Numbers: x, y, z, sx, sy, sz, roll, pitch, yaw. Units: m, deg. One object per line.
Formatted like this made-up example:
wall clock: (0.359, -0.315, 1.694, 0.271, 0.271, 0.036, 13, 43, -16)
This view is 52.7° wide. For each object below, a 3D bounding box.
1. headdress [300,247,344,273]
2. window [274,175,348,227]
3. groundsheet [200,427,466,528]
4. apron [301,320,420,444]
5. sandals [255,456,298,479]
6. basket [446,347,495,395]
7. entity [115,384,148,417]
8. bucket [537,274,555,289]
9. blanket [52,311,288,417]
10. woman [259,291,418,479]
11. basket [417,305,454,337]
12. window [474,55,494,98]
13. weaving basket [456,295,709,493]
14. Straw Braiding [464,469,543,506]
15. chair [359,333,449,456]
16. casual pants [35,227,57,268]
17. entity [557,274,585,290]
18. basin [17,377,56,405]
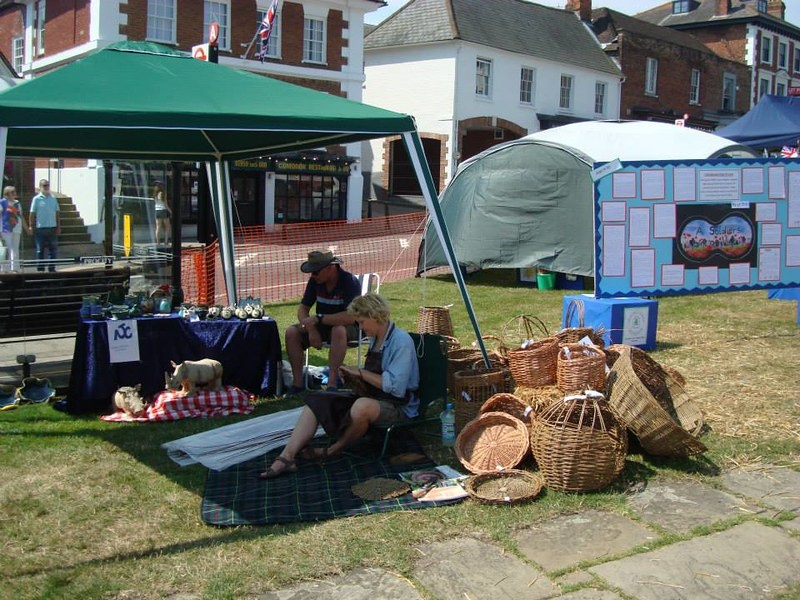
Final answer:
headdress: (-0.831, -0.407, 8.724, 0.353, 0.122, 0.279, -18, 26, -18)
window: (-2.937, -3.583, 28.629, 2.027, 1.981, 3.599, 5, 2, -29)
groundsheet: (-0.968, 1.529, 6.901, 1.389, 0.014, 1.382, -10, 12, -9)
apron: (-0.209, 0.730, 7.561, 1.336, 1.116, 0.883, 1, 3, -24)
sandals: (-1.037, 1.444, 6.903, 0.345, 0.126, 0.132, -2, -7, -32)
basket: (0.648, 0.700, 8.072, 0.465, 0.292, 0.448, -5, -1, -2)
entity: (-2.690, 1.030, 8.146, 0.178, 0.249, 0.457, -15, 17, -41)
bucket: (2.631, -0.327, 14.838, 0.321, 0.195, 0.296, -1, -1, 0)
blanket: (-2.345, 0.666, 8.527, 1.959, 0.695, 1.056, 0, -1, -19)
woman: (-0.543, 0.731, 7.237, 1.630, 1.341, 0.773, -10, 13, -44)
basket: (0.473, 0.282, 10.526, 0.456, 0.302, 0.404, -1, 2, -9)
window: (2.893, -8.016, 29.092, 0.148, 1.249, 0.836, 9, 12, 44)
weaving basket: (1.723, 0.911, 7.610, 1.426, 0.709, 1.999, 2, 14, 12)
Straw Braiding: (0.823, 1.515, 6.532, 0.527, 0.158, 0.498, 2, 7, 39)
chair: (-0.067, 0.980, 7.498, 0.550, 0.716, 0.752, -18, -44, 18)
casual pants: (-6.779, -0.980, 15.460, 0.303, 0.855, 0.425, 3, 7, 29)
entity: (3.068, -0.307, 14.764, 0.394, 0.202, 0.360, 2, 6, 16)
basin: (-3.839, 0.970, 8.555, 0.304, 0.101, 0.309, 11, 33, -7)
